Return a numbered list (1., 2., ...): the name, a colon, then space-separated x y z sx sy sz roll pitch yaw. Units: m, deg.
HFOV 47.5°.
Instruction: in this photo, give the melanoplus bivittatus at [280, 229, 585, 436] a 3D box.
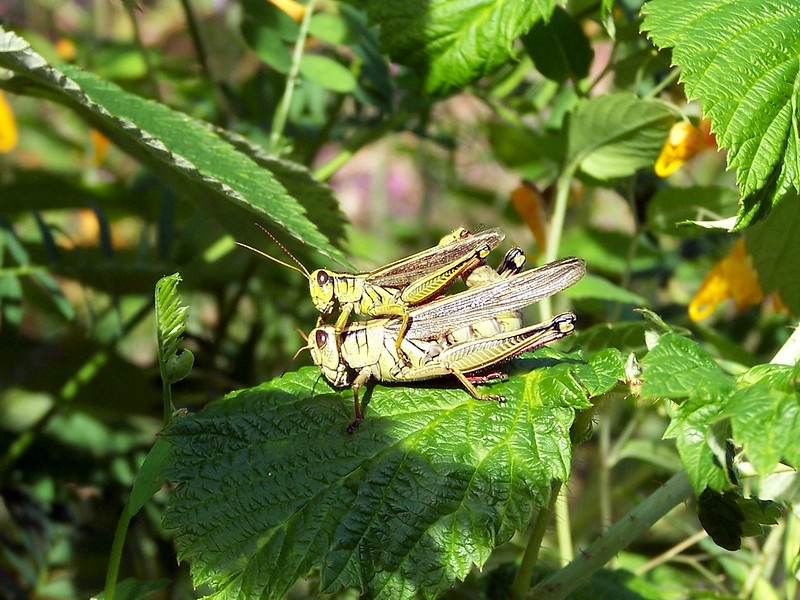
1. melanoplus bivittatus: 0.074 0.000 1.927 0.555 0.332 0.211 -23 -71 5
